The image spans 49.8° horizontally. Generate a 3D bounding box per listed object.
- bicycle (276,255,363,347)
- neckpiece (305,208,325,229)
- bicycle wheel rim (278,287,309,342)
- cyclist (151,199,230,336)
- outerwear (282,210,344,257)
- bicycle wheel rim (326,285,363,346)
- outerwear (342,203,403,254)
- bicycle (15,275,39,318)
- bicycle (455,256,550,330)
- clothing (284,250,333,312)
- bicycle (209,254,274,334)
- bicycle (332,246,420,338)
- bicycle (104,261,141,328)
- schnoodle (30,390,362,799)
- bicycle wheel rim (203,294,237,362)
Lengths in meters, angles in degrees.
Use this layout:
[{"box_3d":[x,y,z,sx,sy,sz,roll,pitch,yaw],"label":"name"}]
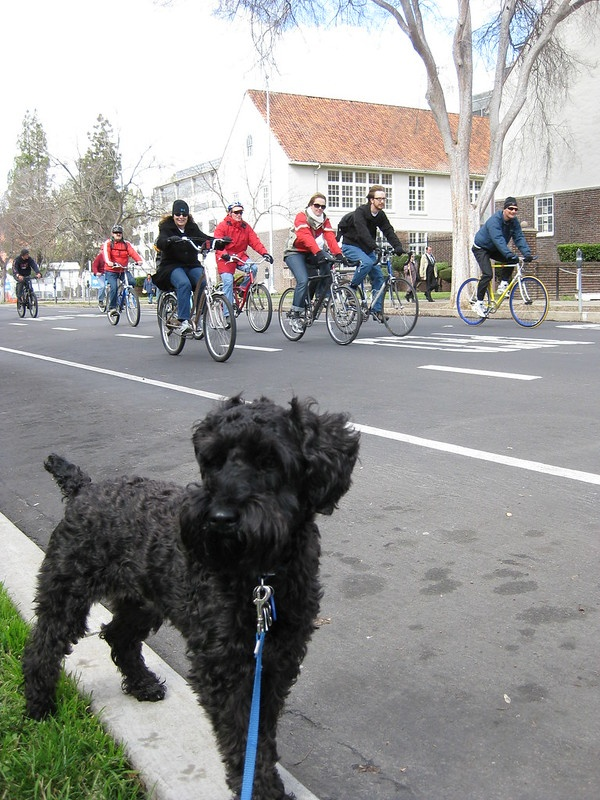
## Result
[{"box_3d":[0.256,-1.960,12.641,1.162,1.656,2.417,-3,10,-40],"label":"bicycle"},{"box_3d":[0.271,-3.391,12.090,0.369,0.404,0.128,-3,7,-21],"label":"neckpiece"},{"box_3d":[-0.134,-1.674,12.826,0.278,1.276,0.572,-1,-12,-40],"label":"bicycle wheel rim"},{"box_3d":[-1.974,-2.210,10.719,0.932,2.235,0.853,-1,7,-7],"label":"cyclist"},{"box_3d":[0.238,-3.121,12.148,0.972,0.823,0.717,0,7,-2],"label":"outerwear"},{"box_3d":[0.810,-1.609,12.164,0.286,1.125,1.080,-4,-6,-24],"label":"bicycle wheel rim"},{"box_3d":[1.316,-3.236,12.401,0.819,1.120,1.349,-10,22,-37],"label":"outerwear"},{"box_3d":[-10.544,-3.830,24.915,0.921,1.276,1.946,-2,5,-29],"label":"bicycle"},{"box_3d":[4.475,-2.390,14.534,2.243,1.479,0.493,9,10,44],"label":"bicycle"},{"box_3d":[0.041,-2.257,12.499,0.927,1.419,1.094,2,8,34],"label":"clothing"},{"box_3d":[-1.314,-2.283,14.158,1.056,1.640,2.401,-5,10,-34],"label":"bicycle"},{"box_3d":[1.471,-2.210,13.426,1.154,1.754,2.584,-2,7,-36],"label":"bicycle"},{"box_3d":[-5.076,-2.916,18.688,0.967,1.313,1.999,-2,6,-26],"label":"bicycle"},{"box_3d":[-0.264,0.413,1.502,0.396,0.897,0.870,-6,9,-43],"label":"schnoodle"},{"box_3d":[-1.267,-1.166,10.238,0.244,1.085,1.027,-3,8,-26],"label":"bicycle wheel rim"}]
